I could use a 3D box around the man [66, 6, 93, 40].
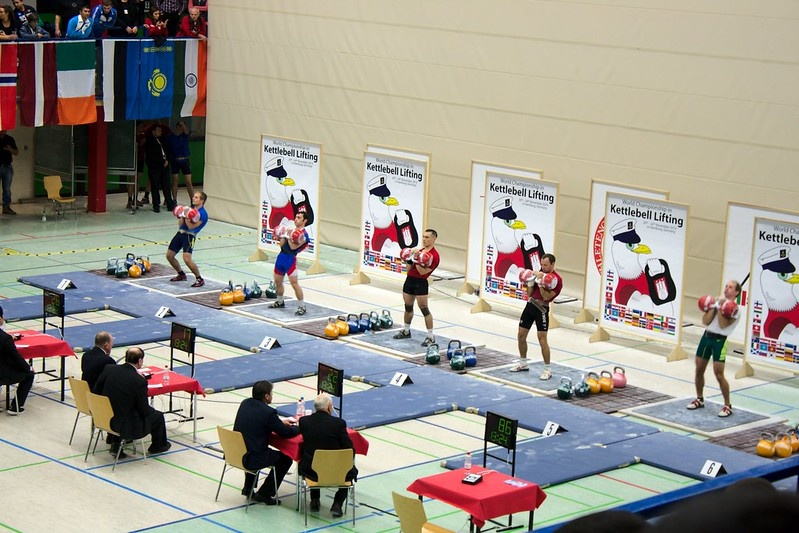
[{"bbox_3d":[-8.711,-6.621,26.470,0.687,0.954,0.670,2,5,-17],"label":"man"}]

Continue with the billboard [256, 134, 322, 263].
[{"bbox_3d":[-2.686,-1.595,23.487,2.430,3.242,0.855,18,26,33],"label":"billboard"}]

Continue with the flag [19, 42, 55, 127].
[{"bbox_3d":[-9.541,-4.834,25.694,0.248,2.222,1.193,7,6,38],"label":"flag"}]

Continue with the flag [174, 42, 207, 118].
[{"bbox_3d":[-6.190,-5.570,28.693,1.128,2.267,0.581,1,5,-29],"label":"flag"}]

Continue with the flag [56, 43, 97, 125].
[{"bbox_3d":[-8.813,-5.016,26.446,1.279,2.281,0.235,-1,6,-44],"label":"flag"}]

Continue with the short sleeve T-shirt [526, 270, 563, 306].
[{"bbox_3d":[2.622,0.370,17.821,0.649,0.764,0.541,10,2,10],"label":"short sleeve T-shirt"}]

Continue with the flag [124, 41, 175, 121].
[{"bbox_3d":[-7.195,-5.367,27.725,0.172,2.659,2.049,20,21,41],"label":"flag"}]

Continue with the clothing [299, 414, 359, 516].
[{"bbox_3d":[-1.028,2.747,13.509,0.807,1.514,0.593,3,4,-7],"label":"clothing"}]

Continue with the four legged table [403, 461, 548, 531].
[{"bbox_3d":[0.960,2.938,12.839,1.109,0.534,1.084,-6,10,-40],"label":"four legged table"}]

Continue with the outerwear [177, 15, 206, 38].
[{"bbox_3d":[-6.151,-7.014,28.668,0.774,0.827,0.643,21,20,36],"label":"outerwear"}]

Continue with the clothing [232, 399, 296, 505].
[{"bbox_3d":[-1.921,2.622,13.754,0.886,1.504,0.414,3,4,-9],"label":"clothing"}]

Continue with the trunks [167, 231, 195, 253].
[{"bbox_3d":[-5.074,-0.552,22.626,0.470,0.435,0.269,17,-5,23],"label":"trunks"}]

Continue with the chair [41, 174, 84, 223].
[{"bbox_3d":[-10.127,-2.017,29.027,1.182,1.712,1.161,-12,20,-43],"label":"chair"}]

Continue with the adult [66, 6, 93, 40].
[{"bbox_3d":[-8.714,-6.622,26.482,0.687,0.954,0.693,2,5,-17],"label":"adult"}]

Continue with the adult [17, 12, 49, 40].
[{"bbox_3d":[-9.636,-6.312,25.690,0.548,0.767,0.782,5,5,13],"label":"adult"}]

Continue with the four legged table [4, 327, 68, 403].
[{"bbox_3d":[-6.014,1.464,16.605,1.050,1.064,1.449,-7,14,-42],"label":"four legged table"}]

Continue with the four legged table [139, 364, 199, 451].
[{"bbox_3d":[-3.675,2.278,15.654,1.173,0.899,1.113,-5,10,-41],"label":"four legged table"}]

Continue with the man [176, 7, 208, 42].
[{"bbox_3d":[-6.104,-7.179,28.595,0.853,0.996,0.511,2,5,-17],"label":"man"}]
